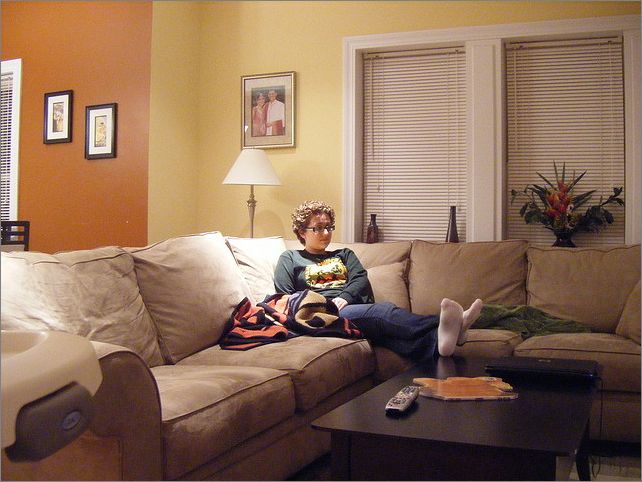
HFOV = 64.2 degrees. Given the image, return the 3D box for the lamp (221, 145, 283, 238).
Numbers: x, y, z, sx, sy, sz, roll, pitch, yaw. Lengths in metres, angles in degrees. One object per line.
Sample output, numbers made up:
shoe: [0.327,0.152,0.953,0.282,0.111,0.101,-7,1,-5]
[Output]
lamp: [-0.532,-0.370,3.962,0.415,0.701,0.459,-4,8,-10]

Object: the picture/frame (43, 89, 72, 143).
picture/frame: [-2.114,-1.002,4.113,0.318,0.418,0.088,1,9,25]

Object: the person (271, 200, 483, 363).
person: [0.275,0.200,2.829,0.543,0.726,1.261,-5,8,-43]

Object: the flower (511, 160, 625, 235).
flower: [1.758,-0.241,3.681,0.649,0.419,0.631,0,-2,31]

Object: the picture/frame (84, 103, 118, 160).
picture/frame: [-1.695,-0.847,3.932,0.324,0.420,0.078,1,9,24]

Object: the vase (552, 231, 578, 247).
vase: [1.664,-0.005,3.521,0.155,0.134,0.156,0,0,39]
